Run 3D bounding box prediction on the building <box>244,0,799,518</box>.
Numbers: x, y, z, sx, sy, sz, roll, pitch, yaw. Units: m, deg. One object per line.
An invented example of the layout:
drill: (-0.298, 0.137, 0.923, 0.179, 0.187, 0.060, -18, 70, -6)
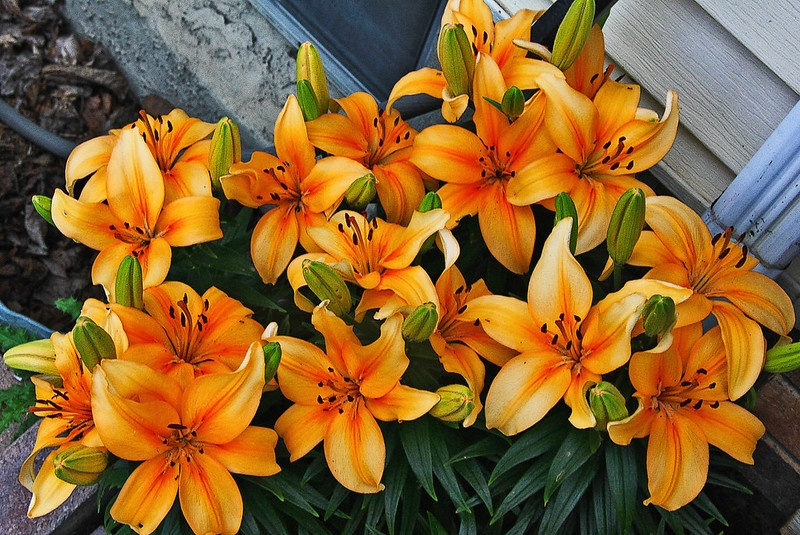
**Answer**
building: (0.261, -0.027, 1.645, 1.239, 0.646, 1.284, -9, 71, -3)
